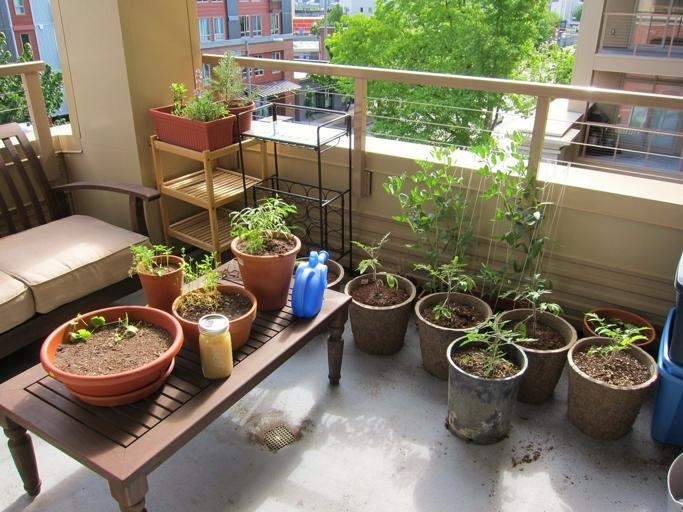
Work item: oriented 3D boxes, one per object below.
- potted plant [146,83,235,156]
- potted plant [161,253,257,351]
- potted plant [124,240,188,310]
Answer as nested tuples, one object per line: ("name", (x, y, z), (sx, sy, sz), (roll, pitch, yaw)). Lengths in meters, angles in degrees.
("potted plant", (-0.974, -0.946, 3.198), (0.534, 0.379, 0.352), (16, 31, 27))
("potted plant", (-0.553, 0.212, 2.102), (0.334, 0.183, 0.357), (-1, 30, -6))
("potted plant", (-0.955, 0.099, 2.419), (0.246, 0.408, 0.274), (-11, 27, -36))
